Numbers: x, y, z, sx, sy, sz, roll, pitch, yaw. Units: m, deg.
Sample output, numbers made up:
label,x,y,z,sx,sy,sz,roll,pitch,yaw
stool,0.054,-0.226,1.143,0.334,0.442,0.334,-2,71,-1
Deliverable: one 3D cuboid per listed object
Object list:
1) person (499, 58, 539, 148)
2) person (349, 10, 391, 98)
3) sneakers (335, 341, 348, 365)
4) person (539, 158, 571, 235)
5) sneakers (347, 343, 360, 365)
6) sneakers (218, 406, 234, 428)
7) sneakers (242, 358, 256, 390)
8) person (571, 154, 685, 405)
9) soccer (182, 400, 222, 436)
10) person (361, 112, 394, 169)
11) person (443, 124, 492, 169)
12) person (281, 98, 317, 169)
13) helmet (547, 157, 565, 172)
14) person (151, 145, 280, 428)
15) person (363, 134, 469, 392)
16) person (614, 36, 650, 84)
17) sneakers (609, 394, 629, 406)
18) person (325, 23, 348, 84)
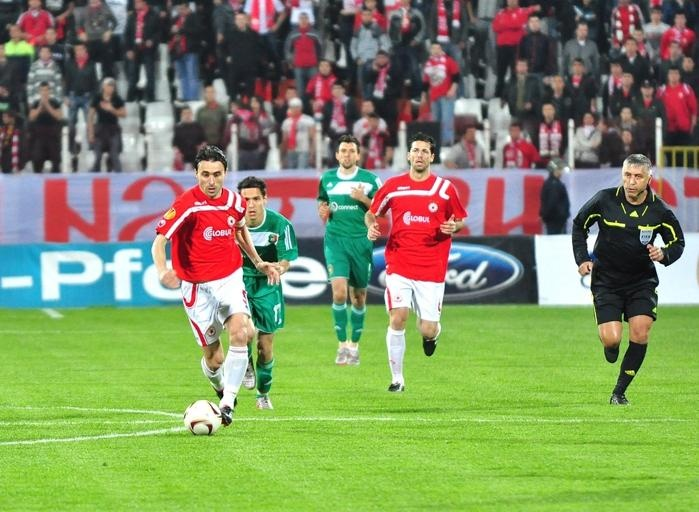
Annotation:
label,x,y,z,sx,sy,sz,roll,pitch,yaw
person,3.018,-2.593,21.806,0.579,1.727,0.560,0,34,10
person,0.270,-3.493,21.923,0.562,1.731,0.494,6,31,3
sneakers,-0.098,1.179,15.136,0.155,0.246,0.253,0,7,-2
person,3.355,-0.959,20.167,0.477,1.191,0.204,1,6,9
sneakers,0.046,1.189,15.125,0.127,0.235,0.183,0,7,-2
sneakers,-1.175,1.502,11.715,0.074,0.227,0.095,-12,-13,36
sneakers,-1.059,1.219,12.977,0.106,0.354,0.131,-1,-1,0
person,2.832,0.420,12.652,1.088,2.223,0.465,1,6,10
soccer,-1.375,1.523,11.630,0.351,0.327,0.138,-1,6,-9
person,0.457,-1.972,21.423,0.552,1.400,0.396,-3,-31,6
person,1.971,-1.932,21.492,0.809,1.234,0.658,0,0,-13
person,-0.918,-1.834,21.184,0.621,1.734,0.392,-3,-16,11
helmet,3.366,-1.442,20.176,0.273,0.263,0.302,1,7,8
person,-1.326,0.293,11.976,1.113,2.665,0.946,-1,6,-9
person,0.716,0.082,13.365,1.019,2.755,0.525,0,6,0
person,4.949,-3.389,21.783,0.583,0.378,0.997,-11,42,6
sneakers,2.798,1.487,12.831,0.148,0.163,0.102,6,-11,-31
person,-0.208,-3.550,21.840,0.320,1.157,0.475,-16,-9,3
